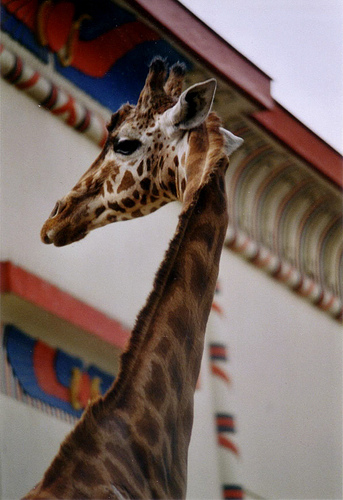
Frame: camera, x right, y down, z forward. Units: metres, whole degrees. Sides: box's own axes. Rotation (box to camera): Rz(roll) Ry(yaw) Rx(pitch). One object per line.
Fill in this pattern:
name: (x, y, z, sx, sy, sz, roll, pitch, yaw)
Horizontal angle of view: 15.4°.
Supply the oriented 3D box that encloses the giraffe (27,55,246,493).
giraffe: (-0.098, 0.034, 4.218, 0.656, 1.687, 0.534, -12, -38, 24)
